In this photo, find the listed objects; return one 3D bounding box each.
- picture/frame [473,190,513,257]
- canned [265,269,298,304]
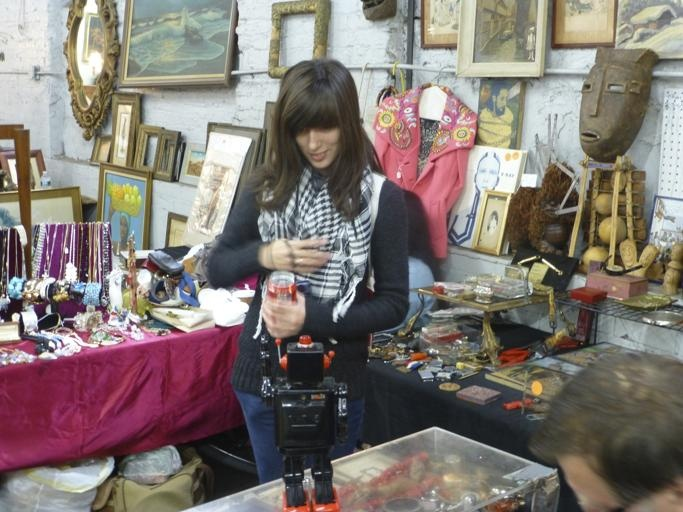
[{"bbox_3d":[0.846,-0.179,2.941,0.038,0.394,0.265,5,10,-34],"label":"picture/frame"},{"bbox_3d":[-0.145,0.067,1.287,0.064,0.075,0.068,4,16,-2],"label":"canned"}]
